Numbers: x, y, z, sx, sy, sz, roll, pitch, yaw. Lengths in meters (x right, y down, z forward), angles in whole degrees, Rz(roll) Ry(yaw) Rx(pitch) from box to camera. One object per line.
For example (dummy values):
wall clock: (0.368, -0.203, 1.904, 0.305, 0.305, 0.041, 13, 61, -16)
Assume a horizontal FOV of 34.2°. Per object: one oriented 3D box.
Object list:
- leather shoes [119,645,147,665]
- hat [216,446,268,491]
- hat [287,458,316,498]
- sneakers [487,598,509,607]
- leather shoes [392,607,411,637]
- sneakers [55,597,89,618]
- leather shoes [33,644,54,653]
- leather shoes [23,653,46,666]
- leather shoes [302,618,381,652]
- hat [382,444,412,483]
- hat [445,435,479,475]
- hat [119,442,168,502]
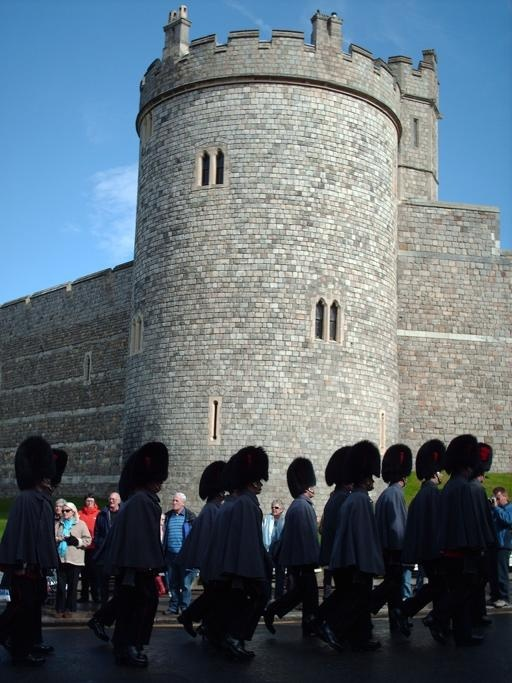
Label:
leather shoes: (-0.990, 2.598, 6.841, 0.258, 0.233, 0.103, -3, -16, 4)
hat: (-0.125, 1.284, 8.231, 0.434, 0.425, 0.338, -20, -11, 16)
hat: (0.467, 1.559, 9.412, 0.332, 0.577, 0.353, 3, -13, -11)
sneakers: (3.099, 3.410, 10.680, 0.226, 0.101, 0.111, 11, 26, -9)
leather shoes: (1.453, 2.828, 8.369, 0.128, 0.353, 0.116, -16, -2, 2)
sneakers: (-2.287, 3.248, 10.179, 0.192, 0.314, 0.233, 16, -25, -42)
leather shoes: (-1.847, 2.695, 7.272, 0.176, 0.094, 0.061, 4, -8, -25)
leather shoes: (-1.795, 2.619, 6.807, 0.183, 0.097, 0.070, -13, -29, 20)
leather shoes: (0.786, 2.757, 7.773, 0.564, 0.293, 0.200, 16, -9, 31)
hat: (1.651, 1.444, 9.723, 0.281, 0.495, 0.129, 1, -7, 15)
hat: (2.100, 1.137, 8.537, 0.256, 0.470, 0.111, 8, -4, 9)
hat: (-1.089, 1.115, 7.756, 0.155, 0.632, 0.380, 13, 8, 40)
